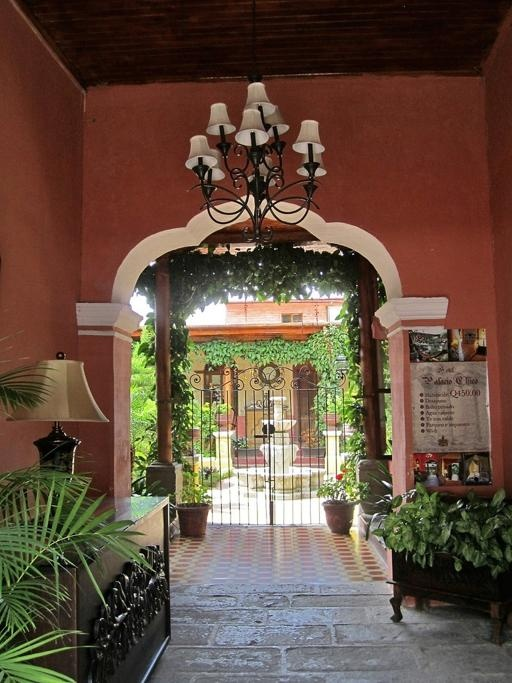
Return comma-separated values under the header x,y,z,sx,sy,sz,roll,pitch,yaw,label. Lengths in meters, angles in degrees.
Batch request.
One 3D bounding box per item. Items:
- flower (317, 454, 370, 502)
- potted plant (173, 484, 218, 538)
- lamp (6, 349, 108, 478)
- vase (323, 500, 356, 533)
x,y,z,sx,sy,sz,roll,pitch,yaw,label
0.961,1.570,6.814,0.527,0.458,0.684,-2,-6,5,flower
-0.668,1.910,6.789,0.438,0.605,0.466,-1,-2,7,potted plant
-0.881,0.319,2.775,0.372,0.549,0.374,-8,-9,44,lamp
0.895,1.920,6.619,0.364,0.267,0.351,0,-3,0,vase
